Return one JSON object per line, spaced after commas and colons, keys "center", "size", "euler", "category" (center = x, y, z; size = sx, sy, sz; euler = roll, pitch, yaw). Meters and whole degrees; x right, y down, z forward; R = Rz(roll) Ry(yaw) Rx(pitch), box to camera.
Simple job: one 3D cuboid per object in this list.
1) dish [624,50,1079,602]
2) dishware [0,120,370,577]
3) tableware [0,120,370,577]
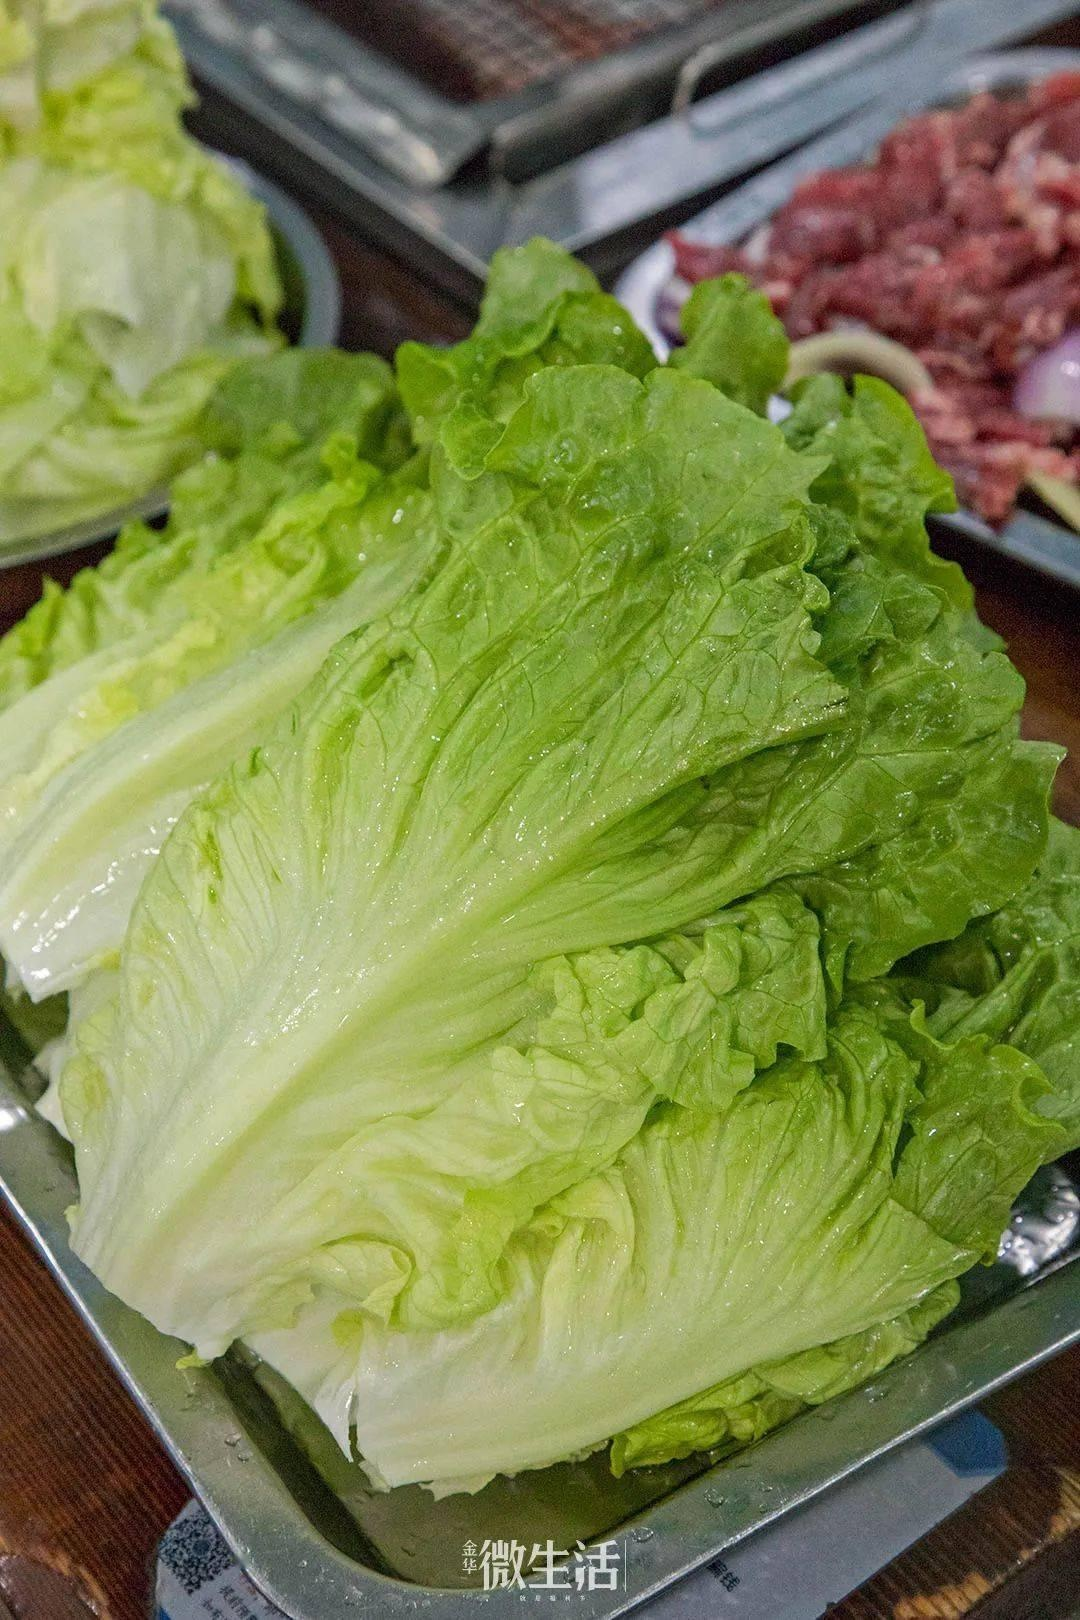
{"center": [0.527, -0.777, 2.449], "size": [0.853, 0.126, 0.834], "euler": [-32, 60, -5], "category": "dish"}
{"center": [-0.372, -0.524, 1.829], "size": [0.488, 0.095, 0.527], "euler": [-17, 57, 37], "category": "dishware"}
{"center": [-0.367, -0.537, 1.818], "size": [0.488, 0.095, 0.527], "euler": [-17, 57, 37], "category": "tableware"}
